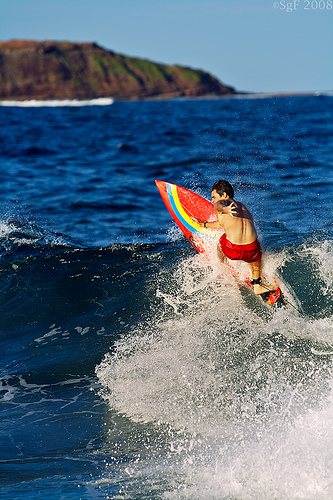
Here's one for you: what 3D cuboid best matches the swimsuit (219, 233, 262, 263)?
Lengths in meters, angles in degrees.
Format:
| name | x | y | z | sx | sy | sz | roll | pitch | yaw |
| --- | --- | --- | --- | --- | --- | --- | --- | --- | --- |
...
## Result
| name | x | y | z | sx | sy | sz | roll | pitch | yaw |
| --- | --- | --- | --- | --- | --- | --- | --- | --- | --- |
| swimsuit | 0.951 | -0.036 | 8.624 | 0.439 | 0.354 | 0.510 | 0 | 4 | 20 |

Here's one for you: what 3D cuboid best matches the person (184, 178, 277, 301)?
| name | x | y | z | sx | sy | sz | roll | pitch | yaw |
| --- | --- | --- | --- | --- | --- | --- | --- | --- | --- |
| person | 0.953 | -0.214 | 9.162 | 0.896 | 1.454 | 1.846 | 0 | 10 | 3 |

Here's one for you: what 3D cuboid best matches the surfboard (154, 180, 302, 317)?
| name | x | y | z | sx | sy | sz | roll | pitch | yaw |
| --- | --- | --- | --- | --- | --- | --- | --- | --- | --- |
| surfboard | 0.746 | -0.118 | 9.907 | 0.720 | 0.401 | 3.818 | -39 | 34 | -6 |
